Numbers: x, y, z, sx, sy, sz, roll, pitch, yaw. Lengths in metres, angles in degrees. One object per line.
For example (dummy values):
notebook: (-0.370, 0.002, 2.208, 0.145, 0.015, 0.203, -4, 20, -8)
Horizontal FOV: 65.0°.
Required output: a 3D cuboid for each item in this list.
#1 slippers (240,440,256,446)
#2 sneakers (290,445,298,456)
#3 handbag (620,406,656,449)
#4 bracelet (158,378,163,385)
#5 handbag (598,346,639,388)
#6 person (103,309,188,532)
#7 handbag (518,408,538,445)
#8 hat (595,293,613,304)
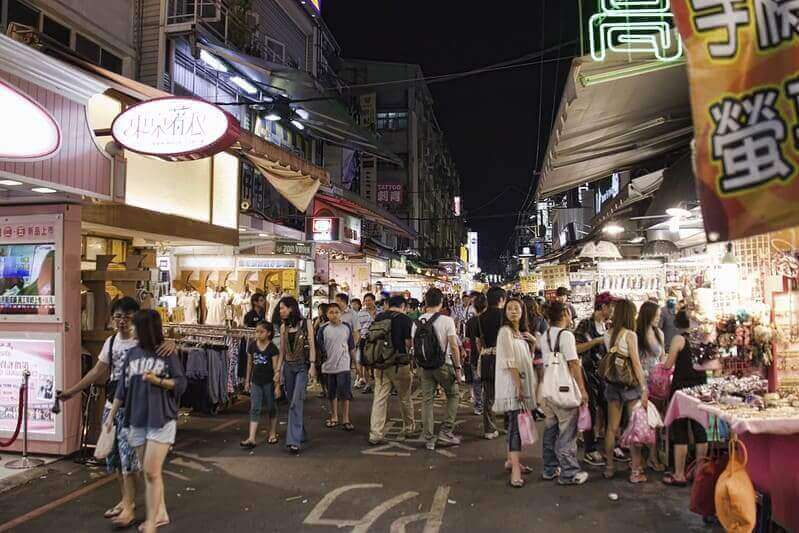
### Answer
slippers: (-2.559, 2.947, 10.527, 0.205, 0.085, 0.117, 10, -8, -8)
sneakers: (-1.753, 2.959, 10.215, 0.132, 0.142, 0.130, 4, 6, 20)
handbag: (3.373, 2.247, 8.875, 0.405, 0.642, 0.247, 1, 5, 21)
bracelet: (-2.955, 1.398, 7.700, 0.047, 0.065, 0.019, -2, 5, -24)
handbag: (3.191, 1.443, 9.101, 0.608, 0.652, 0.312, 4, 6, 38)
person: (-3.085, 1.831, 7.835, 0.721, 2.620, 0.610, 4, 6, 42)
handbag: (1.808, 2.311, 8.968, 0.255, 0.475, 0.401, 0, 4, 10)
hat: (3.370, 0.495, 10.357, 0.218, 0.138, 0.176, -22, 5, -14)
